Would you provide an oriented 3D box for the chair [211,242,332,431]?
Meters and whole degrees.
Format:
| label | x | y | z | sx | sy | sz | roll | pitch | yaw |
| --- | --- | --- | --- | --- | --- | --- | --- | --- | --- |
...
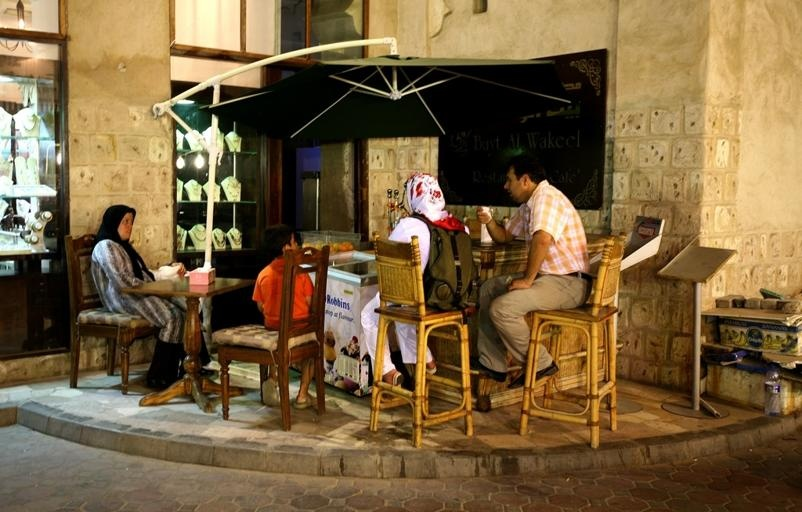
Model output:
| label | x | y | z | sx | sy | sz | roll | pitch | yaw |
| --- | --- | --- | --- | --- | --- | --- | --- | --- | --- |
| chair | -1.235 | 0.759 | 6.933 | 1.022 | 1.699 | 0.599 | 0 | 5 | -6 |

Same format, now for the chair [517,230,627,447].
| label | x | y | z | sx | sy | sz | roll | pitch | yaw |
| --- | --- | --- | --- | --- | --- | --- | --- | --- | --- |
| chair | 1.714 | 0.735 | 7.072 | 0.900 | 1.915 | 1.250 | 2 | 5 | 17 |

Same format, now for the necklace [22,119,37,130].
| label | x | y | z | sx | sy | sz | roll | pitch | yaw |
| --- | --- | --- | --- | --- | --- | --- | --- | --- | --- |
| necklace | -4.064 | -1.441 | 7.802 | 0.130 | 0.116 | 0.014 | -1 | 5 | -26 |

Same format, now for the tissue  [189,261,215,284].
| label | x | y | z | sx | sy | sz | roll | pitch | yaw |
| --- | --- | --- | --- | --- | --- | --- | --- | --- | --- |
| tissue  | -2.073 | 0.220 | 7.396 | 0.191 | 0.150 | 0.344 | -2 | 3 | 6 |

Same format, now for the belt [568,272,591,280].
| label | x | y | z | sx | sy | sz | roll | pitch | yaw |
| --- | --- | --- | --- | --- | --- | --- | --- | --- | --- |
| belt | 1.766 | 0.182 | 6.965 | 0.122 | 0.028 | 0.113 | 11 | -16 | -35 |

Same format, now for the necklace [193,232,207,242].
| label | x | y | z | sx | sy | sz | roll | pitch | yaw |
| --- | --- | --- | --- | --- | --- | --- | --- | --- | --- |
| necklace | -2.490 | -0.257 | 8.799 | 0.046 | 0.137 | 0.158 | -8 | -2 | 29 |

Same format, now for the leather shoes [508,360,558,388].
| label | x | y | z | sx | sy | sz | roll | pitch | yaw |
| --- | --- | --- | --- | --- | --- | --- | --- | --- | --- |
| leather shoes | 1.275 | 1.125 | 6.944 | 0.509 | 0.194 | 0.166 | -25 | 1 | -2 |

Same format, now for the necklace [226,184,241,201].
| label | x | y | z | sx | sy | sz | roll | pitch | yaw |
| --- | --- | --- | --- | --- | --- | --- | --- | --- | --- |
| necklace | -2.119 | -0.808 | 8.960 | 0.207 | 0.209 | 0.029 | -6 | 9 | -33 |

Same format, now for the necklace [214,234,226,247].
| label | x | y | z | sx | sy | sz | roll | pitch | yaw |
| --- | --- | --- | --- | --- | --- | --- | --- | --- | --- |
| necklace | -2.283 | -0.201 | 8.934 | 0.169 | 0.191 | 0.027 | 2 | -7 | -36 |

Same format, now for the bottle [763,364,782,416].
| label | x | y | z | sx | sy | sz | roll | pitch | yaw |
| --- | --- | --- | --- | --- | --- | --- | --- | --- | --- |
| bottle | 3.778 | 1.357 | 7.234 | 0.145 | 0.472 | 0.117 | 2 | 5 | 17 |

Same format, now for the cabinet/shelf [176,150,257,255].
| label | x | y | z | sx | sy | sz | roll | pitch | yaw |
| --- | --- | --- | --- | --- | --- | --- | --- | --- | --- |
| cabinet/shelf | -2.316 | -0.695 | 8.756 | 1.283 | 1.398 | 0.500 | -5 | 11 | -33 |

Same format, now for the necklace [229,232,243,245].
| label | x | y | z | sx | sy | sz | roll | pitch | yaw |
| --- | --- | --- | --- | --- | --- | --- | --- | --- | --- |
| necklace | -2.065 | -0.225 | 8.983 | 0.157 | 0.150 | 0.036 | -10 | 14 | -37 |

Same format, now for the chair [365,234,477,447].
| label | x | y | z | sx | sy | sz | roll | pitch | yaw |
| --- | --- | --- | --- | --- | --- | --- | --- | --- | --- |
| chair | 0.185 | 0.748 | 6.751 | 1.005 | 1.887 | 0.788 | 1 | 5 | 4 |

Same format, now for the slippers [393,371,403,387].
| label | x | y | z | sx | sy | sz | roll | pitch | yaw |
| --- | --- | --- | --- | --- | --- | --- | --- | --- | --- |
| slippers | -0.042 | 1.212 | 7.046 | 0.056 | 0.149 | 0.088 | 12 | 11 | 38 |

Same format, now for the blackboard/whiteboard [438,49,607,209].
| label | x | y | z | sx | sy | sz | roll | pitch | yaw |
| --- | --- | --- | --- | --- | --- | --- | --- | --- | --- |
| blackboard/whiteboard | 1.471 | -1.503 | 8.205 | 2.364 | 1.692 | 0.127 | -1 | 2 | 44 |
